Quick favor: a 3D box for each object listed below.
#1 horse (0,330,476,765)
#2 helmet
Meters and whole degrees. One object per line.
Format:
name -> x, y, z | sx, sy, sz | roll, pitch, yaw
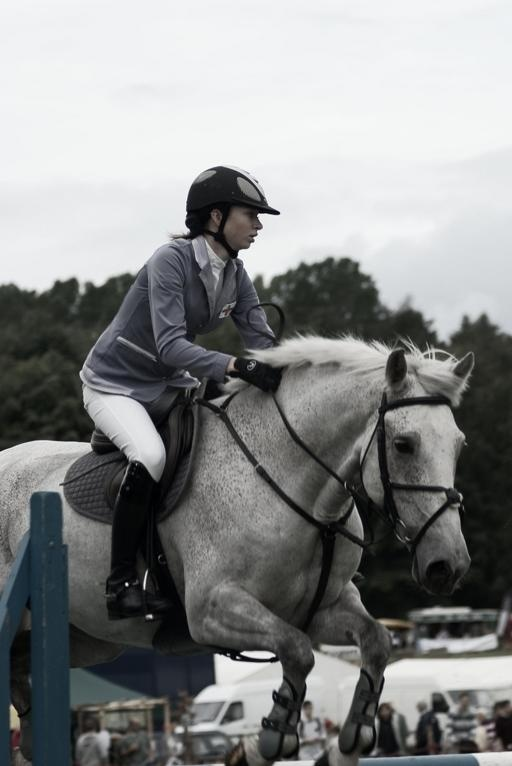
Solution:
horse -> -0.021, 0.820, 6.504 | 2.307, 2.055, 0.930 | 3, 3, 42
helmet -> -0.122, -0.945, 6.871 | 0.511, 0.224, 0.321 | 2, 3, 17
